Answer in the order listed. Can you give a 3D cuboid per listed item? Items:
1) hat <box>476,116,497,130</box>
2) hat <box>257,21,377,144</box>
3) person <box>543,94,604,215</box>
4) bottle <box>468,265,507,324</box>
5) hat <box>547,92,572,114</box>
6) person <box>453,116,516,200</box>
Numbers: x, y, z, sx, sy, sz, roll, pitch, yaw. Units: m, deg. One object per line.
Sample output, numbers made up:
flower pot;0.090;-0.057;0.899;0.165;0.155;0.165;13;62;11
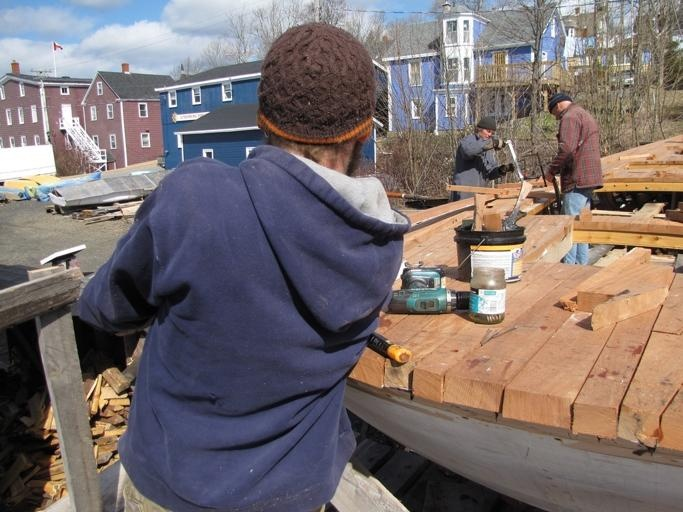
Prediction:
hat;2.051;-1.826;7.501;0.207;0.171;0.212;3;7;-19
hat;-0.073;-0.538;1.701;0.367;0.312;0.385;2;25;-5
person;2.870;-1.242;6.525;0.609;1.434;0.728;1;14;24
bottle;0.688;0.181;2.509;0.159;0.272;0.099;-3;13;10
hat;2.750;-1.883;6.715;0.258;0.246;0.223;10;9;33
person;1.903;-1.370;7.571;0.665;1.083;1.382;-2;13;12
